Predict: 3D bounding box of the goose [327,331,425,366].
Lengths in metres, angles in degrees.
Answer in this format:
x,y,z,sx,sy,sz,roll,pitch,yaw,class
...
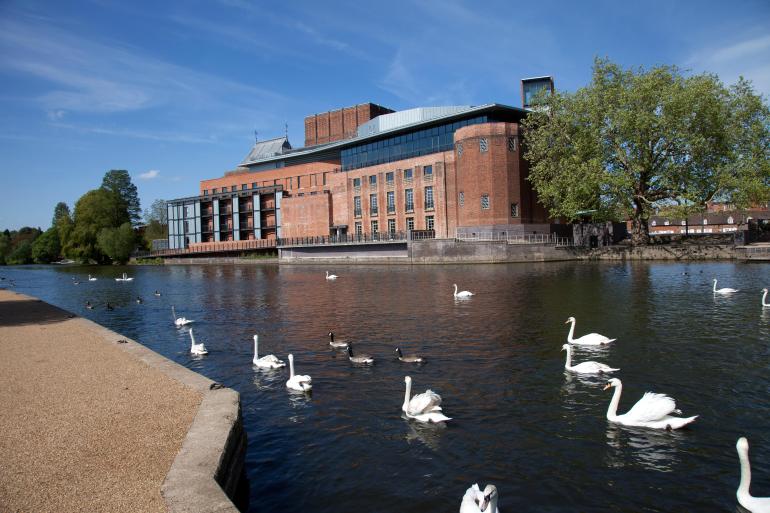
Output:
x,y,z,sx,sy,sz,roll,pitch,yaw,class
-0.737,3.791,24.696,4.702,1.263,1.997,-6,-1,41,goose

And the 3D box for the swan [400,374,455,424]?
x,y,z,sx,sy,sz,roll,pitch,yaw,class
1.245,4.514,19.246,0.749,1.407,1.936,-2,-6,-40,swan

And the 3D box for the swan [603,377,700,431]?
x,y,z,sx,sy,sz,roll,pitch,yaw,class
8.363,4.775,19.206,3.457,1.898,1.204,-1,-11,15,swan

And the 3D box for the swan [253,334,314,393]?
x,y,z,sx,sy,sz,roll,pitch,yaw,class
-4.101,4.164,23.181,1.482,2.018,4.743,-5,-1,-26,swan

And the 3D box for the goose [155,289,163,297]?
x,y,z,sx,sy,sz,roll,pitch,yaw,class
-18.767,3.027,49.756,0.247,0.510,0.918,2,5,-29,goose

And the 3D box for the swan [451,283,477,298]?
x,y,z,sx,sy,sz,roll,pitch,yaw,class
5.011,2.365,39.227,1.946,1.500,0.646,0,-6,2,swan
